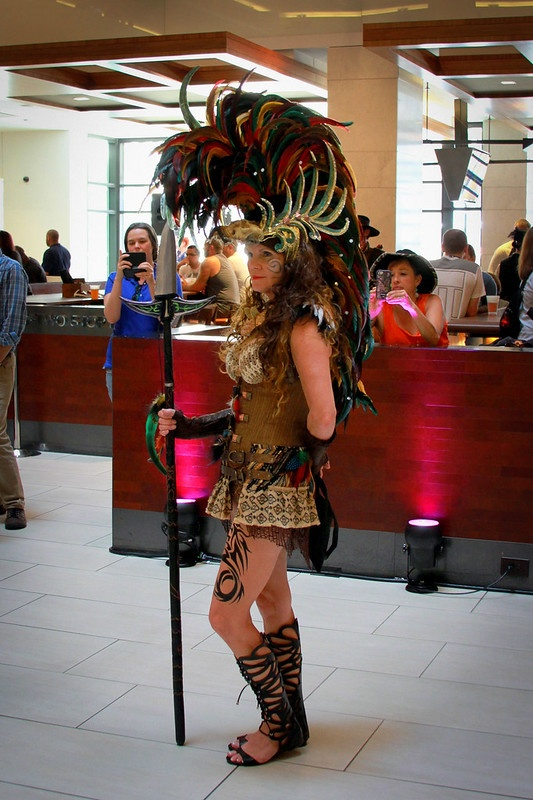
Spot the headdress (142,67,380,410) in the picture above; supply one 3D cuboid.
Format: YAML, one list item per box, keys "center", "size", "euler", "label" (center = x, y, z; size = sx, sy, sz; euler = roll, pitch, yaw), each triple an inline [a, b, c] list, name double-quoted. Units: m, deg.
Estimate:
- center: [-0.029, -0.335, 1.633]
  size: [0.569, 0.786, 0.343]
  euler: [1, 2, 8]
  label: "headdress"

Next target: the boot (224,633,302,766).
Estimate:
- center: [-0.005, 0.772, 1.711]
  size: [0.214, 0.285, 0.092]
  euler: [-2, 10, -23]
  label: "boot"
